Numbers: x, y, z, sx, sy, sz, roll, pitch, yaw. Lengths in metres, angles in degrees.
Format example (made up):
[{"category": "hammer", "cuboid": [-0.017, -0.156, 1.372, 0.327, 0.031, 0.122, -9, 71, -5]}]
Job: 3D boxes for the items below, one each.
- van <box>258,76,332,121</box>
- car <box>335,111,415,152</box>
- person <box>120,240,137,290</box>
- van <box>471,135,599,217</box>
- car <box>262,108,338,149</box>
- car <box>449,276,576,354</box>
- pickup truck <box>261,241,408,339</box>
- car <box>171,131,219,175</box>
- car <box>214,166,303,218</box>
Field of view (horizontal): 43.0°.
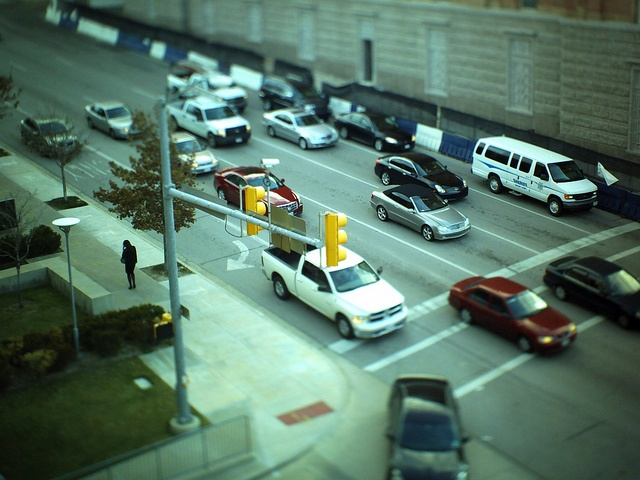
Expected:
[{"category": "van", "cuboid": [-1.577, -8.294, 46.178, 4.031, 1.795, 2.018, 23, 39, 31]}, {"category": "car", "cuboid": [2.710, -5.798, 42.440, 4.100, 1.401, 1.829, 23, 34, 35]}, {"category": "person", "cuboid": [-7.095, 0.853, 30.119, 0.520, 1.826, 0.525, -3, 23, -13]}, {"category": "van", "cuboid": [10.225, -3.319, 36.677, 3.052, 2.596, 6.721, -24, 37, -29]}, {"category": "car", "cuboid": [-1.034, -5.837, 42.816, 3.974, 1.575, 1.486, 20, 29, 33]}, {"category": "car", "cuboid": [6.699, 2.534, 28.143, 4.113, 1.615, 1.420, 23, 30, 36]}, {"category": "pickup truck", "cuboid": [0.633, 1.455, 29.062, 5.183, 1.942, 2.577, 30, 42, 33]}, {"category": "car", "cuboid": [-6.015, -4.041, 39.240, 1.623, 1.580, 2.304, -18, 31, -40]}, {"category": "car", "cuboid": [-2.781, -2.397, 35.784, 4.186, 1.482, 1.965, 26, 36, 30]}]
